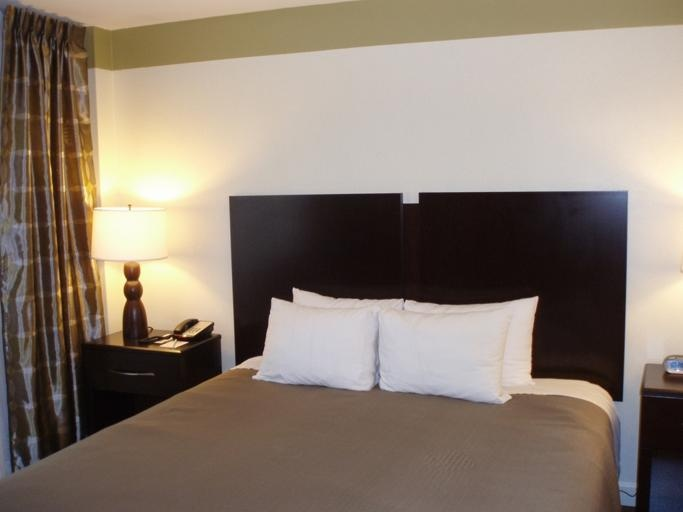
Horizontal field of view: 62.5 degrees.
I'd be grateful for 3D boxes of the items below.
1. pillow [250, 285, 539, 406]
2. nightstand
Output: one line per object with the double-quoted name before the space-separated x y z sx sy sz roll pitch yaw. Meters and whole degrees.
"pillow" 0.312 0.477 3.209 1.543 0.501 0.507 3 6 15
"nightstand" -1.390 0.925 3.920 0.679 0.684 0.477 4 6 -2
